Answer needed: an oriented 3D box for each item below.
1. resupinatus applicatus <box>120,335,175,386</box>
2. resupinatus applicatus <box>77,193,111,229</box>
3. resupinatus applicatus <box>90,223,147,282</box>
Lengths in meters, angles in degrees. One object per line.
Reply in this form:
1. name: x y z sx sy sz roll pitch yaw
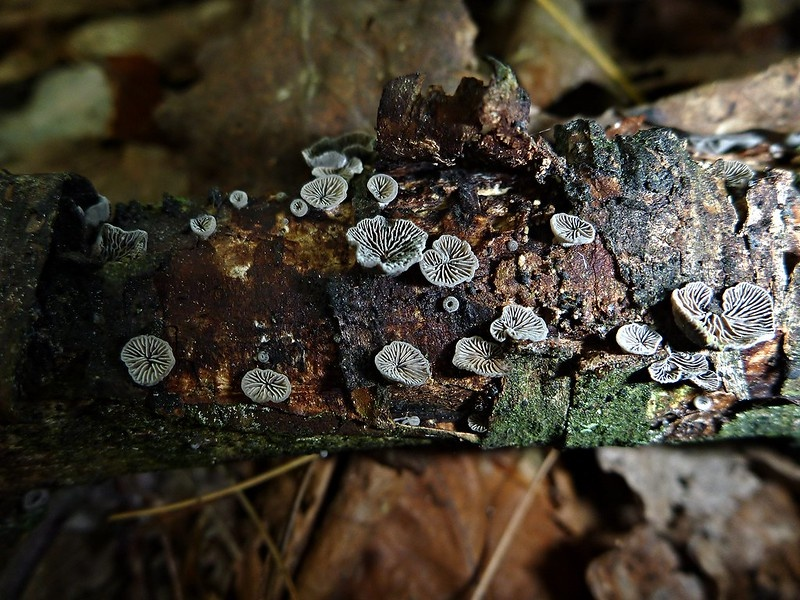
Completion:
1. resupinatus applicatus: -1.685 0.387 5.705 0.315 0.085 0.339 -29 85 -4
2. resupinatus applicatus: -2.156 -0.629 6.000 0.200 0.225 0.195 2 103 -2
3. resupinatus applicatus: -1.918 -0.318 5.922 0.370 0.199 0.394 14 76 11
